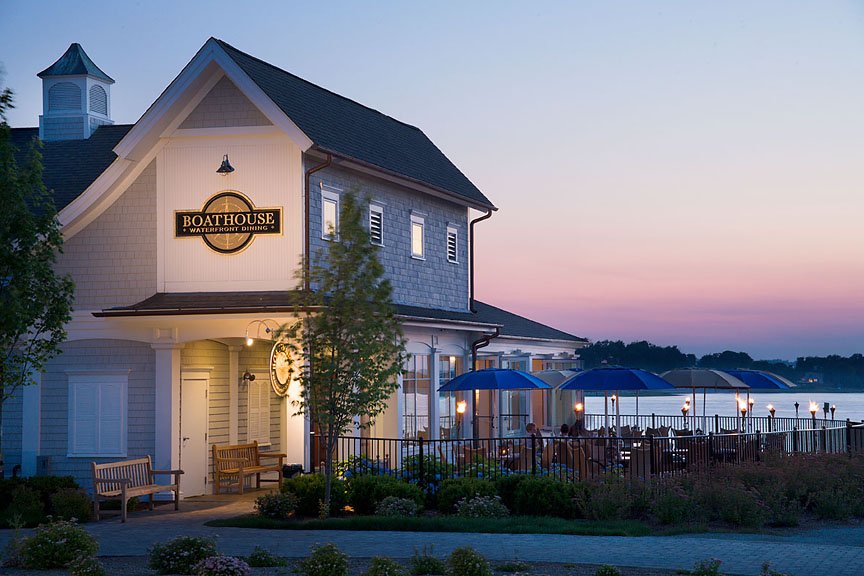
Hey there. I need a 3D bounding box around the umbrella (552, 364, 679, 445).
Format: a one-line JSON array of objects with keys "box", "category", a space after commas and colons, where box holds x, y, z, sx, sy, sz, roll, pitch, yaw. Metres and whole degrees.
[{"box": [4.946, 2.532, 38.414, 2.625, 1.314, 2.367, 0, -6, -2], "category": "umbrella"}]

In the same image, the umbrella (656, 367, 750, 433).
[{"box": [8.461, 2.968, 44.739, 2.500, 1.228, 2.418, 4, -4, -43], "category": "umbrella"}]

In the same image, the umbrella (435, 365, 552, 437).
[{"box": [1.725, 3.010, 39.687, 3.115, 1.412, 2.792, 2, -2, -14], "category": "umbrella"}]

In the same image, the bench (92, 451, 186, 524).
[{"box": [-7.443, 5.092, 35.436, 1.192, 1.294, 3.024, 1, -3, 14], "category": "bench"}]
